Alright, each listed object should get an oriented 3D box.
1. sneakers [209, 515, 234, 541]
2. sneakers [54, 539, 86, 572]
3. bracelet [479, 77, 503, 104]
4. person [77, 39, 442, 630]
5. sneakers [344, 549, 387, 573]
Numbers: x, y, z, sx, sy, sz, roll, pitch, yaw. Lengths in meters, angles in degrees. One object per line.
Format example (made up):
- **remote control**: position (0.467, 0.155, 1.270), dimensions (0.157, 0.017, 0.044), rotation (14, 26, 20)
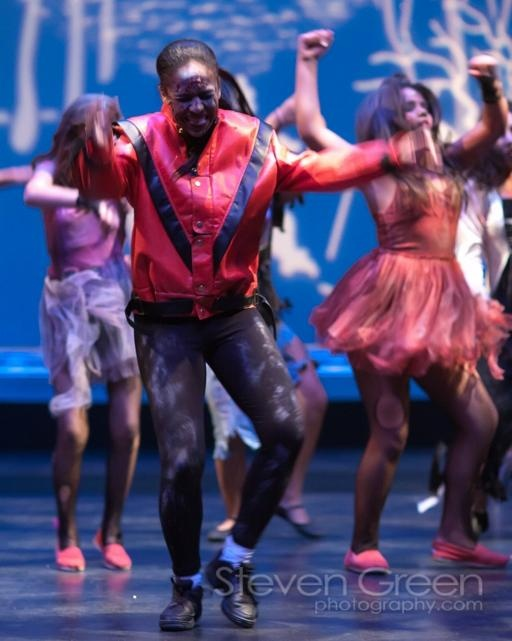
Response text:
- **sneakers**: position (-0.119, 0.704, 3.226), dimensions (0.042, 0.056, 0.125), rotation (-6, -14, 14)
- **sneakers**: position (-0.528, 0.666, 2.724), dimensions (0.060, 0.051, 0.129), rotation (2, -13, -24)
- **bracelet**: position (0.602, -0.596, 2.477), dimensions (0.046, 0.065, 0.034), rotation (-7, 23, 38)
- **person**: position (-0.056, 0.043, 2.045), dimensions (0.555, 1.222, 0.375), rotation (4, 14, 1)
- **sneakers**: position (0.299, 0.653, 2.599), dimensions (0.050, 0.043, 0.117), rotation (6, -13, -32)
